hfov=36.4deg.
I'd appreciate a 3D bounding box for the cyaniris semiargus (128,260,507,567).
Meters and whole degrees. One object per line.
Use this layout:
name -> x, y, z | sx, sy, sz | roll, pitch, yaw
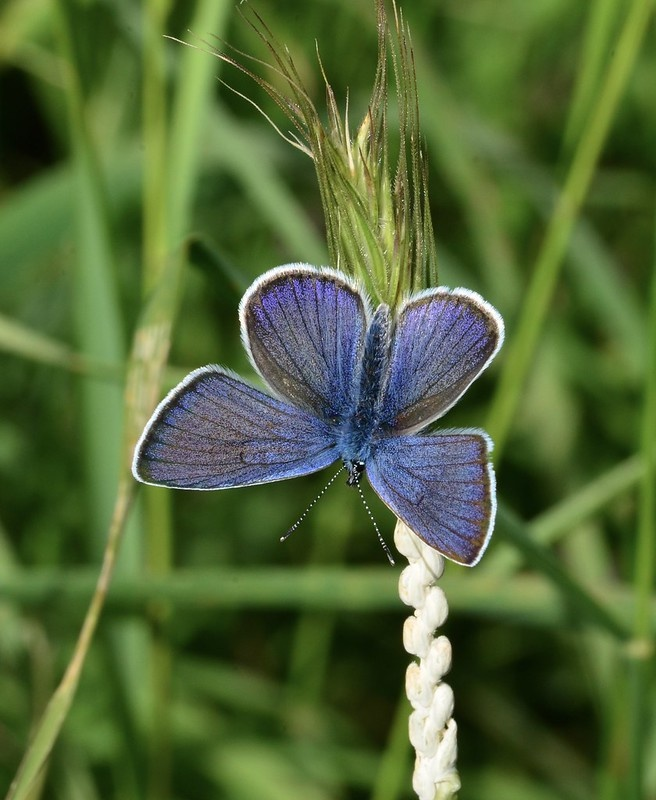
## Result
cyaniris semiargus -> 0.055, 0.017, 1.561 | 0.630, 0.435, 0.145 | 17, -9, 28
